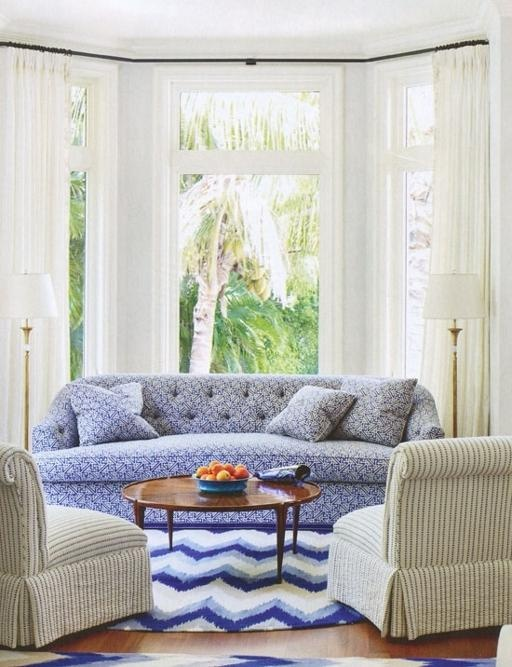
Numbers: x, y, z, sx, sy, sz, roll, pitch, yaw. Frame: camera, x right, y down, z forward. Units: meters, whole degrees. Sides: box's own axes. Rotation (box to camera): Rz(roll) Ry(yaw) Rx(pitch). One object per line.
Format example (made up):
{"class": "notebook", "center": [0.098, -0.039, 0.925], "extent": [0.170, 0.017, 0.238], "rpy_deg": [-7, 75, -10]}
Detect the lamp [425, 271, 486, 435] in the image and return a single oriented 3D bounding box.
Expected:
{"class": "lamp", "center": [1.192, 0.143, 4.207], "extent": [0.341, 1.006, 0.485], "rpy_deg": [0, 1, 18]}

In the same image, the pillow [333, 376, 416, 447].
{"class": "pillow", "center": [0.667, 0.413, 3.789], "extent": [0.121, 0.372, 0.386], "rpy_deg": [30, -19, -37]}
